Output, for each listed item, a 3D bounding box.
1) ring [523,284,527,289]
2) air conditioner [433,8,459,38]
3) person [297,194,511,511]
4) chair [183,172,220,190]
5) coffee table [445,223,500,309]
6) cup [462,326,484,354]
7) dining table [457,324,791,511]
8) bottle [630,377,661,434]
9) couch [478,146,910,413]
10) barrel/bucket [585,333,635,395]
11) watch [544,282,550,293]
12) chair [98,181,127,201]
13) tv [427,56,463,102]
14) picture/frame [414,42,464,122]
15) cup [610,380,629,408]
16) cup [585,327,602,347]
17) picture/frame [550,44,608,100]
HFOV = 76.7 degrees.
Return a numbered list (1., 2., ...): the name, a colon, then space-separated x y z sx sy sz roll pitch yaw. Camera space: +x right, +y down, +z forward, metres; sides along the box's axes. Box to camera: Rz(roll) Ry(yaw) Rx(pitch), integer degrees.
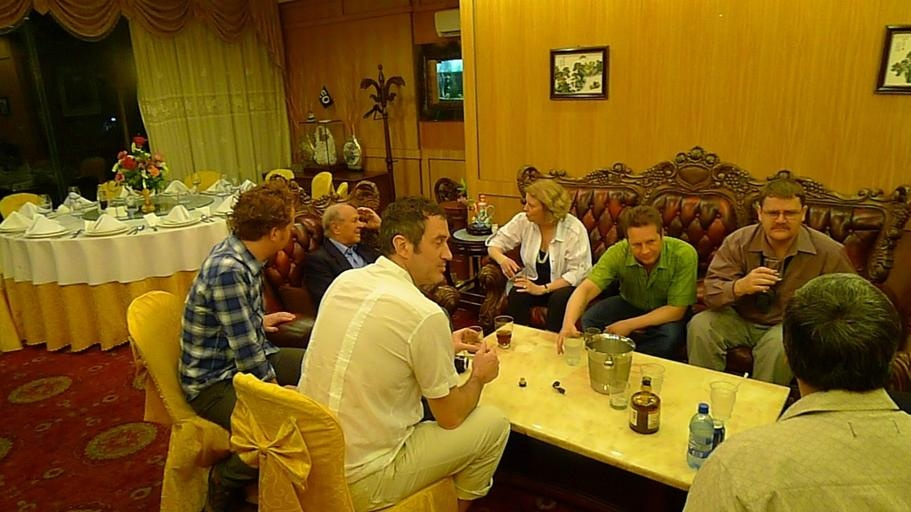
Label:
1. ring: 0.611 0.276 5.019 0.029 0.018 0.020 4 8 21
2. air conditioner: -0.109 -3.121 7.699 0.479 0.300 0.253 0 -5 19
3. person: -0.341 0.694 3.542 1.196 1.959 0.552 -7 17 -19
4. chair: -3.422 -0.999 7.747 0.348 0.408 0.307 -7 15 -18
5. coffee table: 0.075 0.135 5.618 0.759 0.778 0.730 -1 11 9
6. cup: 0.124 0.605 4.261 0.165 0.177 0.183 -1 -4 34
7. dining table: 1.053 0.965 3.895 1.993 0.914 1.061 12 35 27
8. bottle: 1.198 0.912 3.561 0.221 0.342 0.160 -1 16 0
9. couch: 1.872 0.195 4.341 2.126 1.232 0.692 3 5 29
10. barrel/bucket: 1.004 0.714 3.903 0.360 0.303 0.363 0 11 0
11. watch: 0.814 0.286 5.065 0.050 0.073 0.077 6 -3 14
12. chair: -4.108 -0.760 6.862 0.283 0.197 0.279 -11 18 -41
13. tv: -0.155 -2.429 8.015 0.575 0.579 0.051 9 19 35
14. picture/frame: -0.208 -2.451 8.007 1.050 0.994 0.584 10 19 36
15. cup: 1.069 0.899 3.723 0.120 0.168 0.089 -1 15 0
16. cup: 0.949 0.563 3.969 0.118 0.109 0.101 -2 12 -10
17. picture/frame: 1.282 -1.875 5.827 0.629 0.482 0.046 2 8 24
